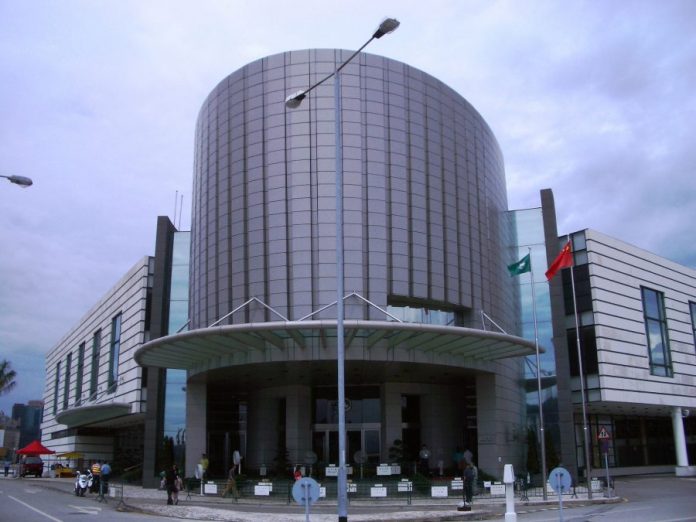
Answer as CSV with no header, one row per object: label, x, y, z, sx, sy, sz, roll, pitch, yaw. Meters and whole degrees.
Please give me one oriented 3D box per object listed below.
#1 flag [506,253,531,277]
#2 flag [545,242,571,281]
flag,12.508,0.291,46.885,1.868,1.885,0.347,-1,5,34
flag,14.338,-0.088,42.859,1.491,2.589,2.013,-11,-23,25
